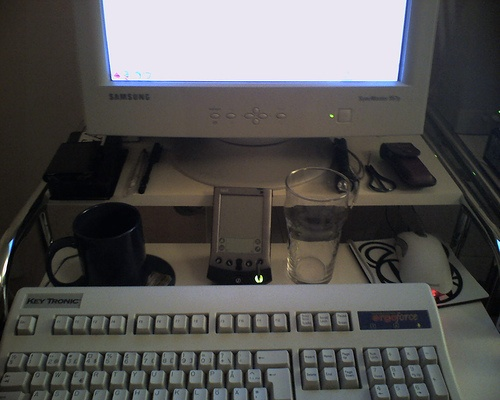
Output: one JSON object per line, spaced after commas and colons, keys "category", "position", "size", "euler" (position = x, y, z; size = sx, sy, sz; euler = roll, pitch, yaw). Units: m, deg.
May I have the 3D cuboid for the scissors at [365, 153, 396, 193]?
{"category": "scissors", "position": [0.245, -0.052, 0.810], "size": [0.035, 0.056, 0.043], "euler": [-11, 33, -17]}

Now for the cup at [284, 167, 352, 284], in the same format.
{"category": "cup", "position": [0.120, 0.048, 0.768], "size": [0.113, 0.195, 0.123], "euler": [-1, 39, 1]}

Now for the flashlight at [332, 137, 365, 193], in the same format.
{"category": "flashlight", "position": [0.179, -0.070, 0.853], "size": [0.047, 0.096, 0.088], "euler": [9, 27, 18]}

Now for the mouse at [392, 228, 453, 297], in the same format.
{"category": "mouse", "position": [0.318, 0.096, 0.787], "size": [0.097, 0.060, 0.177], "euler": [6, 32, 13]}
